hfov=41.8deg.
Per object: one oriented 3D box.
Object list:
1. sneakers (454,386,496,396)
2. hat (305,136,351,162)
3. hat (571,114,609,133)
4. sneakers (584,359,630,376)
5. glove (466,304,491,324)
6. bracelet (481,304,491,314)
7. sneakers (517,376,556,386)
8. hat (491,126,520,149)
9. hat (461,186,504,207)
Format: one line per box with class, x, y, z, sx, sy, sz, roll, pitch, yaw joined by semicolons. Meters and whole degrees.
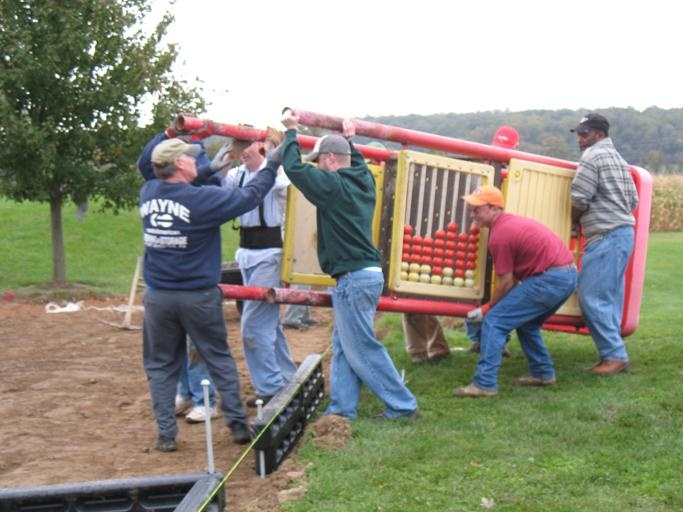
sneakers;1.510;1.498;10.135;0.420;0.166;0.171;4;-7;6
hat;-0.131;-1.138;9.363;0.416;0.205;0.259;2;10;3
hat;3.013;-1.615;10.844;0.383;0.206;0.237;3;10;5
sneakers;3.097;1.286;10.366;0.429;0.168;0.190;0;-3;-3
glove;1.561;0.651;10.269;0.278;0.159;0.108;-24;23;21
bracelet;1.648;0.592;10.216;0.102;0.101;0.095;-43;11;-26
sneakers;2.253;1.449;10.363;0.430;0.119;0.154;4;3;20
hat;2.385;-1.742;12.909;0.394;0.308;0.579;9;22;21
hat;1.619;-0.682;10.144;0.369;0.170;0.251;3;3;-1
